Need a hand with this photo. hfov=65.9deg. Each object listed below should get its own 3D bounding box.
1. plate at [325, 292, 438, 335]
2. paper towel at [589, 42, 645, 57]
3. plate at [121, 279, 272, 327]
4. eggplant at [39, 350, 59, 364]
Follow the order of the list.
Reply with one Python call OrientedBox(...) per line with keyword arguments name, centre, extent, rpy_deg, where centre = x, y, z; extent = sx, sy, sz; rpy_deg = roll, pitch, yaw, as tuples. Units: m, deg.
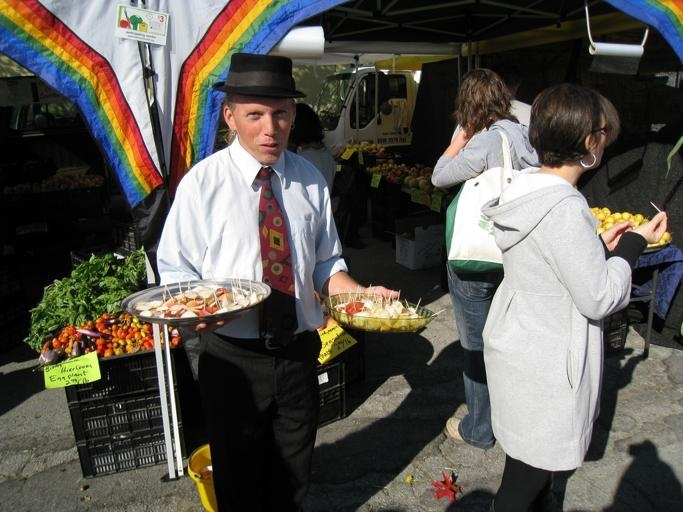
OrientedBox(name="plate", centre=(0.202, 0.303, 3.098), extent=(0.508, 0.255, 0.856), rpy_deg=(2, 16, -2))
OrientedBox(name="paper towel", centre=(2.126, -1.602, 4.099), extent=(0.523, 0.106, 0.095), rpy_deg=(-6, 17, -19))
OrientedBox(name="plate", centre=(-0.686, 0.224, 2.447), extent=(0.687, 0.153, 0.340), rpy_deg=(0, 16, 1))
OrientedBox(name="eggplant", centre=(-1.947, 0.685, 3.502), extent=(0.109, 0.076, 0.164), rpy_deg=(-8, 18, -25))
